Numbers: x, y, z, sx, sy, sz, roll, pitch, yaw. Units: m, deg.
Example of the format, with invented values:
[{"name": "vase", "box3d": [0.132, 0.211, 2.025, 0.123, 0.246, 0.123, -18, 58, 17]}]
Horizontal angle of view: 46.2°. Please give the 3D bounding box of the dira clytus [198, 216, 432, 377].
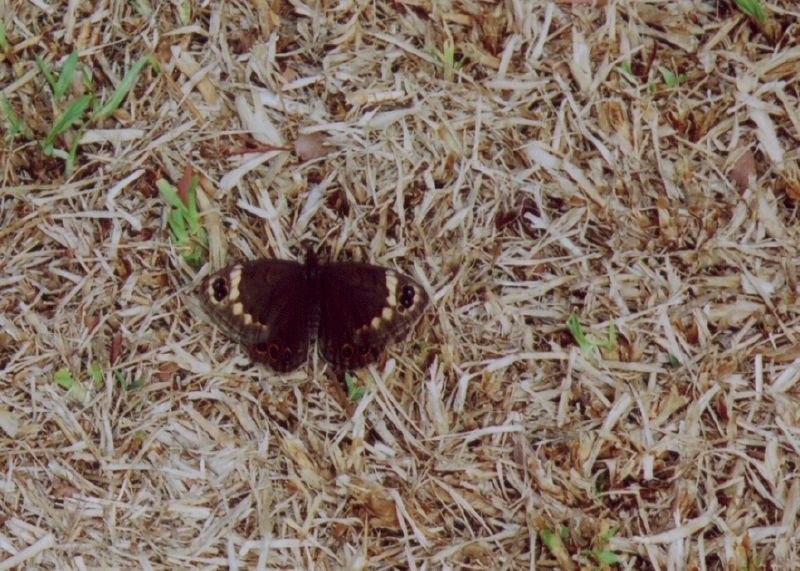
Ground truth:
[{"name": "dira clytus", "box3d": [-0.280, 0.067, 3.068, 0.712, 0.077, 0.433, -2, 106, -2]}]
